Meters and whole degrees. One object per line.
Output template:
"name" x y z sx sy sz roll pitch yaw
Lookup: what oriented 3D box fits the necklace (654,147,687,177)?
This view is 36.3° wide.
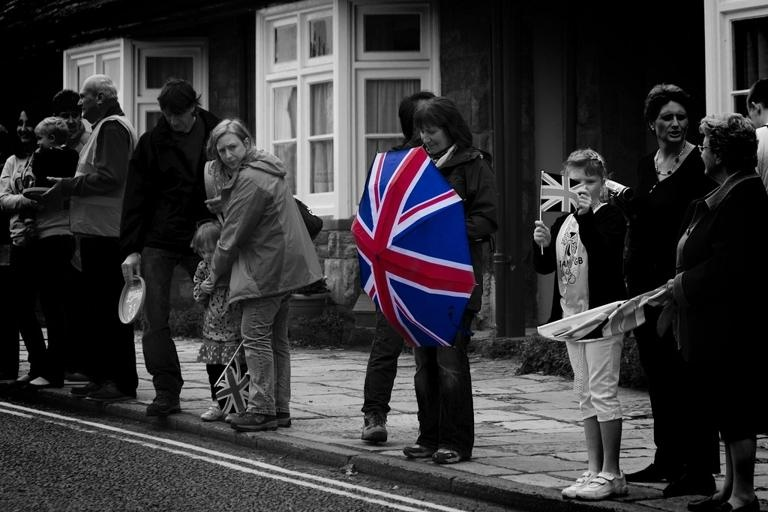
"necklace" 2.020 -0.655 8.302 0.024 0.204 0.164 11 2 -29

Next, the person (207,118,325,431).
"person" -1.025 0.156 9.657 0.912 2.536 0.371 -2 5 -9

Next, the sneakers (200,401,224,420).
"sneakers" -1.468 1.344 10.018 0.101 0.130 0.283 -1 -6 25

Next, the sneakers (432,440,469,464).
"sneakers" 0.502 1.463 8.679 0.322 0.147 0.119 7 -20 -23

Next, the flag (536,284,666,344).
"flag" 1.472 0.437 8.096 1.015 0.336 0.348 -15 -26 9

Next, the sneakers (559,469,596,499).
"sneakers" 1.333 1.563 8.070 0.335 0.140 0.110 -18 2 -34

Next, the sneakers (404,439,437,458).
"sneakers" 0.245 1.472 8.878 0.282 0.120 0.101 7 -25 -11

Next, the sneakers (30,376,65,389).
"sneakers" -3.299 1.255 11.452 0.306 0.092 0.123 10 -7 -12

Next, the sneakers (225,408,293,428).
"sneakers" -1.034 1.367 9.617 0.521 0.255 0.189 4 -4 -11

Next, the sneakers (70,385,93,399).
"sneakers" -2.819 1.277 10.962 0.267 0.117 0.115 4 -3 1

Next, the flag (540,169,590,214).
"flag" 1.210 -0.412 7.933 0.004 0.305 0.393 -6 8 -34

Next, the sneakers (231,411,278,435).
"sneakers" -1.059 1.374 9.596 0.373 0.201 0.150 6 -4 -9

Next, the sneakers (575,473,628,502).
"sneakers" 1.482 1.578 7.961 0.372 0.149 0.145 1 -5 -29

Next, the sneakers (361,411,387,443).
"sneakers" -0.079 1.363 9.231 0.197 0.246 0.200 -1 5 -1

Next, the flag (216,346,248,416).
"flag" -1.265 1.041 9.774 0.307 0.665 0.051 -16 42 -29

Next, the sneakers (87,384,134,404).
"sneakers" -2.502 1.270 10.736 0.337 0.142 0.175 5 -5 -19
